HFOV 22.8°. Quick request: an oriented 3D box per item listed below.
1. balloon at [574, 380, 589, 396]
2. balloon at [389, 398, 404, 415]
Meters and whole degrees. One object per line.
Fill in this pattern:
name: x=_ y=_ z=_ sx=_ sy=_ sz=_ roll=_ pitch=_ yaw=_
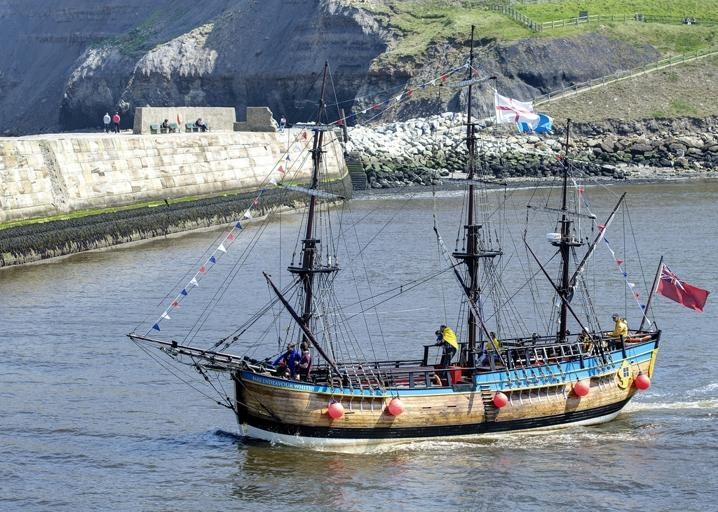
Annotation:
balloon: x=15.432 y=9.180 z=123.974 sx=0.745 sy=1.001 sz=1.039 roll=25 pitch=-20 yaw=0
balloon: x=2.353 y=10.293 z=122.355 sx=1.109 sy=1.104 sz=1.009 roll=0 pitch=10 yaw=16
